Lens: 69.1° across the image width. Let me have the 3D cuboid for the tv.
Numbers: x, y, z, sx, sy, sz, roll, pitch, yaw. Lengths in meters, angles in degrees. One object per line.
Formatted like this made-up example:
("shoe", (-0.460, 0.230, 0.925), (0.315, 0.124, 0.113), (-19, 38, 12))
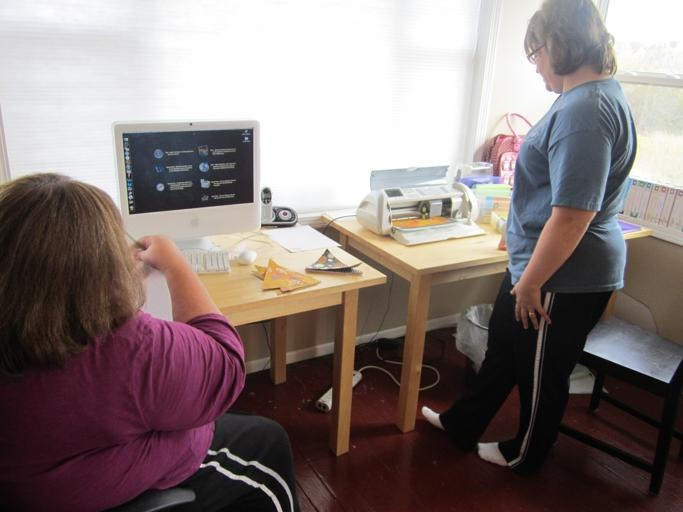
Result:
("tv", (-0.609, -0.317, 2.024), (0.532, 0.501, 0.130), (-9, 24, -37))

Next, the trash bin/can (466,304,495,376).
("trash bin/can", (0.784, 0.483, 2.825), (0.151, 0.377, 0.164), (1, 23, -11))

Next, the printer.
("printer", (0.386, -0.240, 2.518), (0.561, 0.303, 0.443), (-8, 29, -21))

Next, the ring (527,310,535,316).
("ring", (0.733, 0.223, 1.914), (0.018, 0.009, 0.023), (0, 17, 4))

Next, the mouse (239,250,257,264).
("mouse", (-0.388, 0.011, 2.051), (0.054, 0.049, 0.057), (0, -3, 0))

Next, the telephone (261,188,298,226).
("telephone", (-0.362, -0.241, 2.468), (0.132, 0.167, 0.261), (-14, 0, -22))
